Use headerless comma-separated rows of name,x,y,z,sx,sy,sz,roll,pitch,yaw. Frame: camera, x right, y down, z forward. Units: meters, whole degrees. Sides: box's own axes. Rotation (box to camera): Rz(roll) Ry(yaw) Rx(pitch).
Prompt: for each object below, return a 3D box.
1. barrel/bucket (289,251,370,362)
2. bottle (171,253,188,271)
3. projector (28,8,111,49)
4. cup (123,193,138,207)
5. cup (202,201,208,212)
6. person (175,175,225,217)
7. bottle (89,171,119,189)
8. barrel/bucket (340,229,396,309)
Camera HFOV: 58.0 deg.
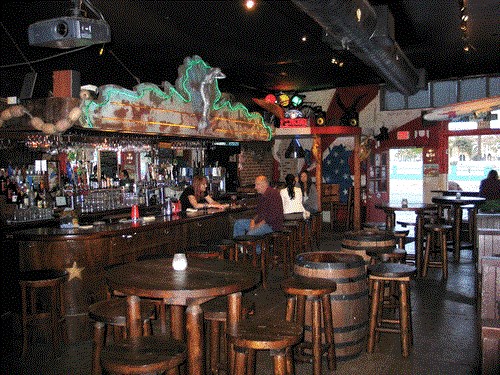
barrel/bucket,0.936,1.228,5.133,1.009,0.998,1.005,0,3,0
bottle,-0.644,0.700,4.242,0.152,0.137,0.147,2,-4,-29
projector,-2.197,-1.931,5.467,0.923,0.316,0.342,0,0,8
cup,-2.029,0.202,7.796,0.288,0.260,0.275,-4,1,0
cup,-0.747,0.333,7.729,0.128,0.189,0.124,0,4,0
person,-0.958,0.118,8.028,0.881,0.777,0.492,-1,1,10
bottle,-2.563,-0.215,7.939,0.532,0.339,0.280,0,3,-27
barrel/bucket,1.601,1.019,6.010,0.840,0.794,0.829,0,2,0
